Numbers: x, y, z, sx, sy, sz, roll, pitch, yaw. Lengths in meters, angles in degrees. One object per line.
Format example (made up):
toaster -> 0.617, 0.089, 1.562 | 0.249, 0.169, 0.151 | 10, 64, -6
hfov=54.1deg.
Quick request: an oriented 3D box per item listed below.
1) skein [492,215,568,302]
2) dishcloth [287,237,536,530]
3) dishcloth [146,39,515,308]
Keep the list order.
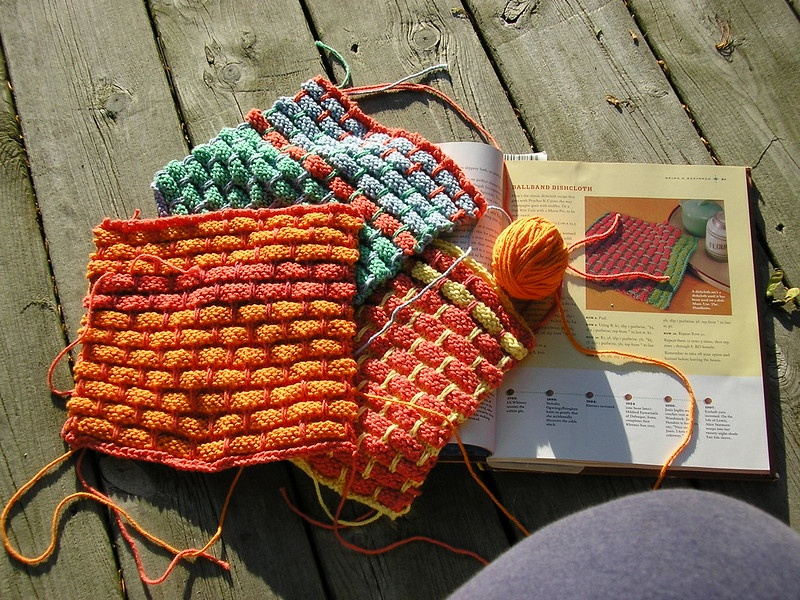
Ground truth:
skein -> 0.189, -0.062, 1.137 | 0.114, 0.099, 0.119 | 1, 88, 42
dishcloth -> 0.015, 0.126, 1.210 | 0.262, 0.093, 0.457 | 45, 82, 4
dishcloth -> -0.112, -0.188, 1.175 | 0.413, 0.066, 0.350 | -19, 78, -1
